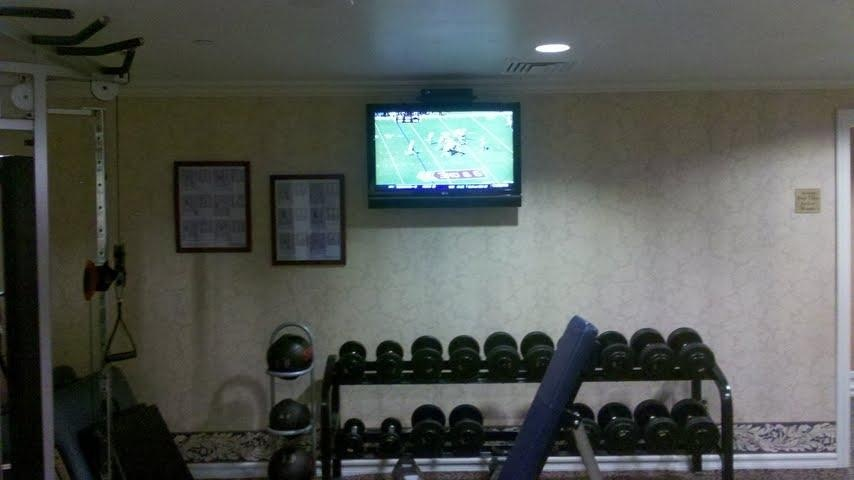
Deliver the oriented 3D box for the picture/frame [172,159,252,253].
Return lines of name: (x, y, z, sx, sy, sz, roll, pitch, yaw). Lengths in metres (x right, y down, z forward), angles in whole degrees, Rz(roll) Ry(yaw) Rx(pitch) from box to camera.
picture/frame: (-1.764, -0.303, 5.959, 0.695, 0.751, 0.058, 0, 1, -2)

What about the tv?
tv: (0.098, -0.649, 6.124, 0.928, 0.876, 0.254, 1, 2, -3)

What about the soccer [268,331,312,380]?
soccer: (-1.015, 0.857, 5.443, 0.321, 0.333, 0.171, 0, 0, -12)

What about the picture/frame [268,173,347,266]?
picture/frame: (-0.970, -0.170, 5.977, 0.578, 0.721, 0.064, 0, 0, -6)

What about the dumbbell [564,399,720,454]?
dumbbell: (1.638, 1.450, 5.691, 1.156, 0.431, 0.356, 0, 0, 5)
